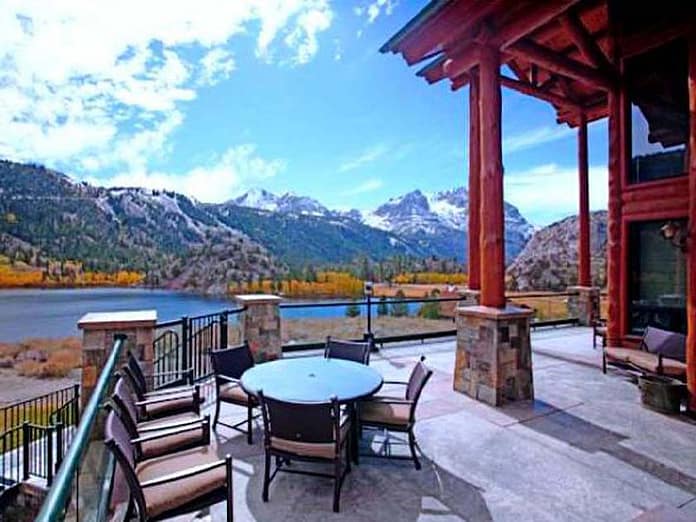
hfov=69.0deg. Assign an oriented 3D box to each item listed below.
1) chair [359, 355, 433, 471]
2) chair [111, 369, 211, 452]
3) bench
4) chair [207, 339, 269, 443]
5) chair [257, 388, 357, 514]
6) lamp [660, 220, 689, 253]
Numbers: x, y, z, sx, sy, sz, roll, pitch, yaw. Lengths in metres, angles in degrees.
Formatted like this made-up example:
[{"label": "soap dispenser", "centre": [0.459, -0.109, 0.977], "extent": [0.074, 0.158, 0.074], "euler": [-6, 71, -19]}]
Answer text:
[{"label": "chair", "centre": [0.700, 2.414, 8.304], "extent": [1.136, 1.596, 1.185], "euler": [6, 4, 15]}, {"label": "chair", "centre": [-3.015, 2.195, 8.381], "extent": [1.158, 1.552, 0.969], "euler": [-10, 12, -30]}, {"label": "bench", "centre": [6.053, 1.951, 10.261], "extent": [0.873, 1.168, 1.633], "euler": [2, 2, -7]}, {"label": "chair", "centre": [-1.758, 2.233, 8.834], "extent": [0.859, 1.458, 1.010], "euler": [2, 2, 30]}, {"label": "chair", "centre": [-0.620, 2.648, 7.843], "extent": [1.402, 1.961, 1.455], "euler": [-2, 14, -8]}, {"label": "lamp", "centre": [6.968, -0.511, 10.865], "extent": [0.163, 0.748, 0.516], "euler": [-4, -1, -21]}]
